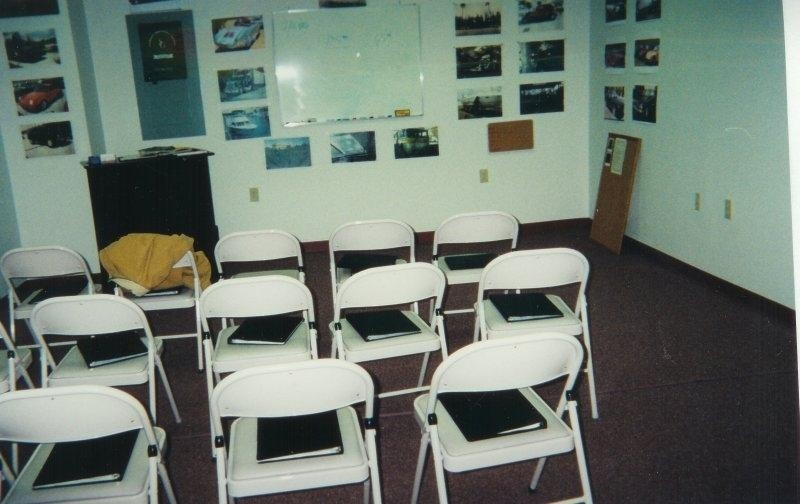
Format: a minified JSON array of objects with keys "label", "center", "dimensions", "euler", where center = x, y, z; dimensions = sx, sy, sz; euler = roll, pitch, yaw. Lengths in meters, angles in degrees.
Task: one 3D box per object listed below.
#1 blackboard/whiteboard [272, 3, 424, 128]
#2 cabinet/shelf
[{"label":"blackboard/whiteboard","center":[-0.608,-2.071,6.711],"dimensions":[1.356,0.929,0.021],"euler":[-4,19,-2]},{"label":"cabinet/shelf","center":[-2.231,-0.291,5.599],"dimensions":[1.214,1.349,0.564],"euler":[-8,21,-20]}]
